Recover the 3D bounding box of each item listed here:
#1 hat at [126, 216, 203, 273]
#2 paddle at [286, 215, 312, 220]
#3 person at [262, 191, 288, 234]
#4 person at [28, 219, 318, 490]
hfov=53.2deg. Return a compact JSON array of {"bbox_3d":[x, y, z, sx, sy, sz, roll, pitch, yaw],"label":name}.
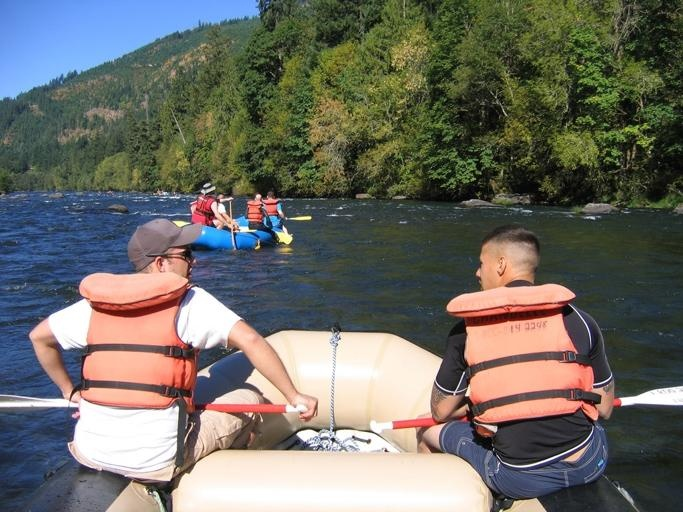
[{"bbox_3d":[-1.111,-0.061,4.258,0.442,0.223,0.277,-21,-6,-8],"label":"hat"},{"bbox_3d":[-1.265,-1.143,20.306,0.687,0.106,0.118,-5,53,7],"label":"paddle"},{"bbox_3d":[-1.492,-0.914,15.145,0.422,1.189,0.386,8,39,10],"label":"person"},{"bbox_3d":[-1.110,0.685,4.410,1.851,1.596,1.115,2,-3,15],"label":"person"}]
